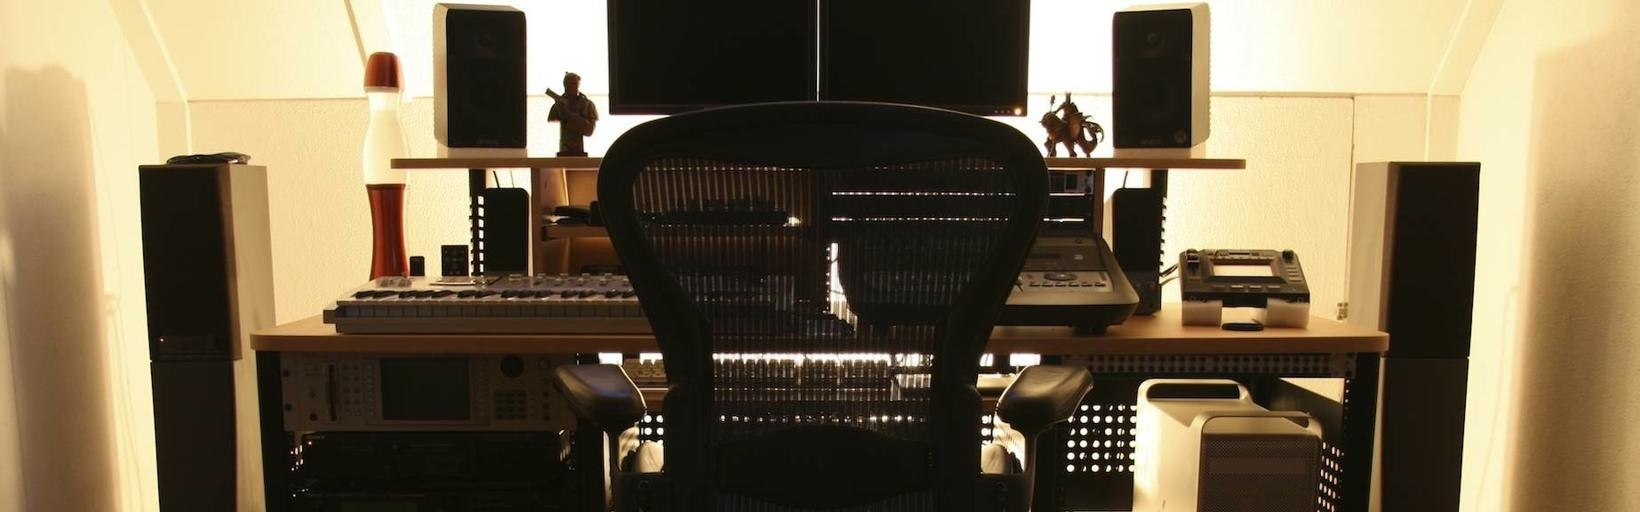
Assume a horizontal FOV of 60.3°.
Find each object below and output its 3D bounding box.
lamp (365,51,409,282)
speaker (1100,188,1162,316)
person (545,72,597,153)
[{"bbox_3d":[-3.642,-0.789,11.861,0.476,1.802,0.541,2,2,-17],"label":"lamp"},{"bbox_3d":[2.673,-0.056,11.890,0.475,0.985,0.418,1,3,20],"label":"speaker"},{"bbox_3d":[-2.043,-1.178,11.780,0.496,0.634,0.522,1,1,0],"label":"person"}]
